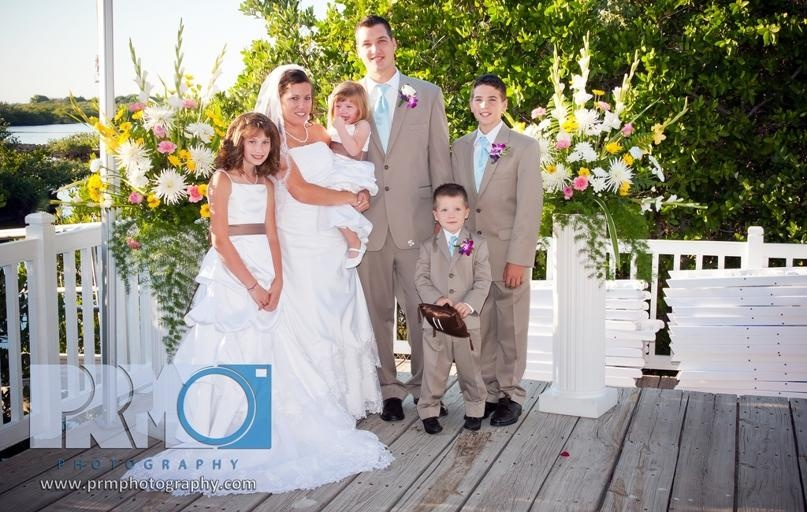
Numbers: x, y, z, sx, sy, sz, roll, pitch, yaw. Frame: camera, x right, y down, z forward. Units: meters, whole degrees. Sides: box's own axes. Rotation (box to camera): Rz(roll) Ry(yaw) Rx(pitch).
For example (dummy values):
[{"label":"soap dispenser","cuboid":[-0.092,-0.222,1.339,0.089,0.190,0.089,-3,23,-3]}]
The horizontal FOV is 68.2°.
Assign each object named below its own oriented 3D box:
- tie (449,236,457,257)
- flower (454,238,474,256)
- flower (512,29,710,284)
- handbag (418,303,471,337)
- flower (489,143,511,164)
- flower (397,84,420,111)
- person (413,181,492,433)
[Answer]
[{"label":"tie","cuboid":[0.397,-0.089,4.681,0.087,0.131,0.033,11,-1,-33]},{"label":"flower","cuboid":[0.484,-0.069,4.649,0.143,0.131,0.060,-2,4,3]},{"label":"flower","cuboid":[1.574,-0.401,4.988,1.147,0.985,0.951,-8,34,-19]},{"label":"handbag","cuboid":[0.307,0.500,4.564,0.378,0.282,0.221,-2,4,11]},{"label":"flower","cuboid":[0.777,-0.826,4.743,0.162,0.151,0.065,-3,4,3]},{"label":"flower","cuboid":[0.047,-1.274,4.773,0.075,0.171,0.169,-23,29,29]},{"label":"person","cuboid":[0.393,0.407,4.696,0.612,1.970,0.430,-2,4,9]}]
